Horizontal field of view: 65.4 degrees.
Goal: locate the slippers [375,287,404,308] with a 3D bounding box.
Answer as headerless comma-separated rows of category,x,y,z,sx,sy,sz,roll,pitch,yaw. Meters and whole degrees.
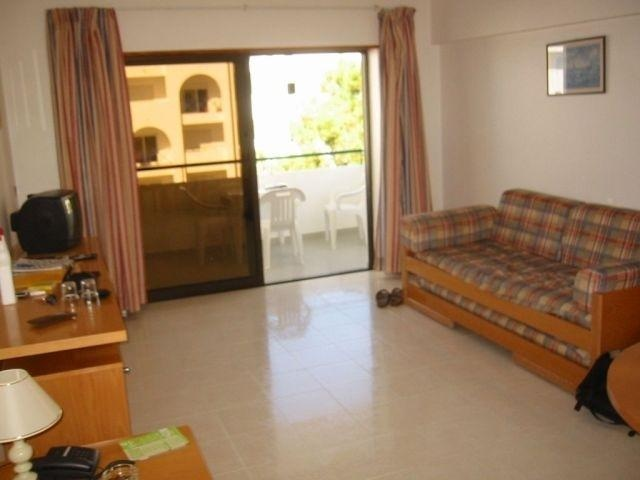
slippers,0.667,0.552,4.829,0.225,0.097,0.168,-3,7,-23

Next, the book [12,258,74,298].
book,-1.785,0.223,3.201,0.266,0.031,0.288,-5,23,-19

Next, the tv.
tv,-2.059,-0.155,3.998,0.492,0.524,0.517,0,9,-5

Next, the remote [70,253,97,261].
remote,-1.732,0.124,3.668,0.139,0.032,0.037,-1,34,1

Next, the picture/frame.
picture/frame,2.167,-1.468,4.186,0.021,0.437,0.576,-13,16,-30
